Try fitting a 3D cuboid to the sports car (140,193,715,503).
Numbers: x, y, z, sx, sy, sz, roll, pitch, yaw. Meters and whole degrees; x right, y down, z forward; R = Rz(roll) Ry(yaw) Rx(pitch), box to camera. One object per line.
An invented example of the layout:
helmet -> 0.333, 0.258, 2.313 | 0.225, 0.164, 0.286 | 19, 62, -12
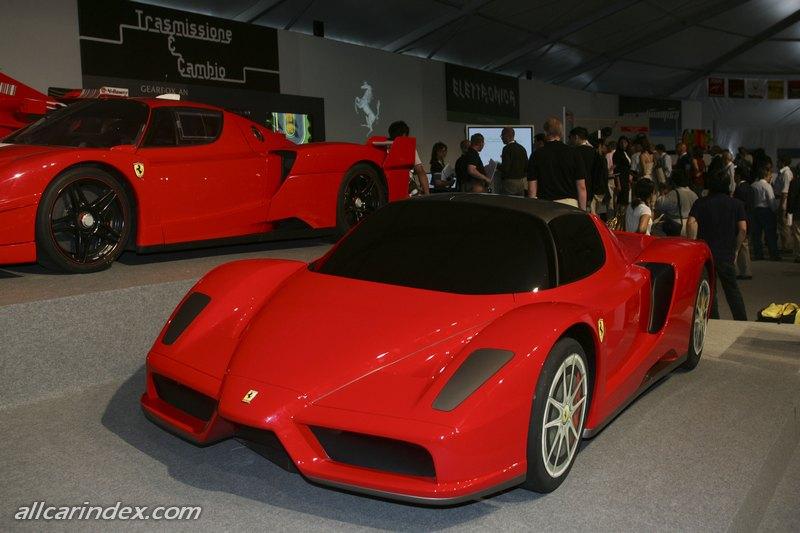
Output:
sports car -> 0.501, 0.443, 3.081 | 1.649, 1.010, 2.828 | 7, 12, 41
